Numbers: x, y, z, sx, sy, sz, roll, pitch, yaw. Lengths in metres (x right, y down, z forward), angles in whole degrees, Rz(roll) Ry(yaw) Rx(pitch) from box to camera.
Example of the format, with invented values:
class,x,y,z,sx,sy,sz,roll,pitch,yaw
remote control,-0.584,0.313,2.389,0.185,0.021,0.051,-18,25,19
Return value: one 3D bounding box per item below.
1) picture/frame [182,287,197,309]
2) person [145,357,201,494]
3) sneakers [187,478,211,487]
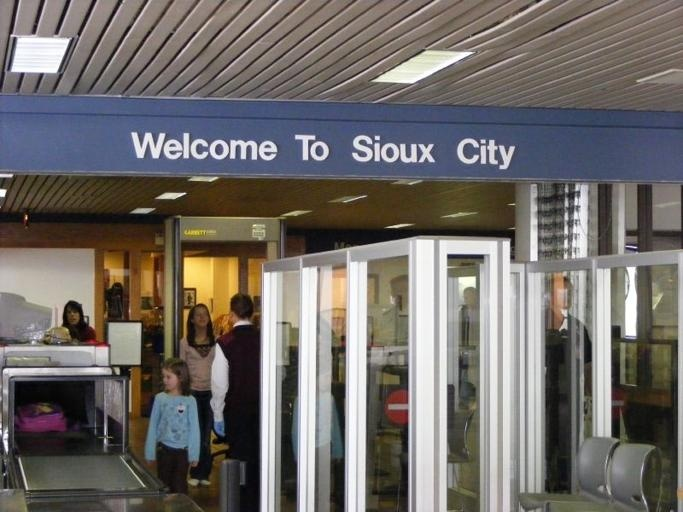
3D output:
class,x,y,z,sx,sy,sz,roll,pitch,yaw
picture/frame,-2.633,0.725,11.802,0.400,0.421,0.029,11,24,44
person,-1.678,1.737,6.720,0.626,1.403,0.544,2,-3,-36
sneakers,-1.760,2.804,8.403,0.247,0.111,0.101,6,-5,-16
